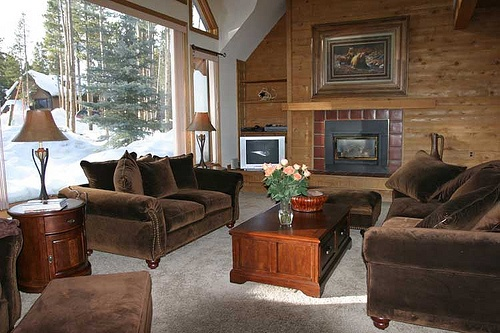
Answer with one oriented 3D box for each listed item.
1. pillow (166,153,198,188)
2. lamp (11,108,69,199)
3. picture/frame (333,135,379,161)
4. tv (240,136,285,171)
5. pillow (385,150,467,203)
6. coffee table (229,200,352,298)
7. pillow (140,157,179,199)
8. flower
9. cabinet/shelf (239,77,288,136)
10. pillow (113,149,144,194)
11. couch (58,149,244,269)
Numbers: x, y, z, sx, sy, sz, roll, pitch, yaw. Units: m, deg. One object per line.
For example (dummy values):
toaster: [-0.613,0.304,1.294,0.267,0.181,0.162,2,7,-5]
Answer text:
pillow: [-0.919,0.083,5.116,0.143,0.421,0.470,-12,2,33]
lamp: [-2.437,-0.156,4.178,0.498,0.995,1.624,-6,10,-32]
picture/frame: [2.105,-0.375,7.140,0.861,0.491,0.129,1,-3,0]
tv: [0.368,-0.283,7.585,1.027,0.689,0.565,1,5,26]
pillow: [2.300,0.073,4.692,0.841,0.250,0.892,16,45,38]
coffee table: [0.555,0.852,4.119,1.026,0.545,1.487,1,9,24]
pillow: [-1.193,0.161,4.656,0.265,0.434,0.563,0,3,30]
flower: [0.340,0.151,3.823,0.464,0.380,0.422,10,5,21]
cabinet/shelf: [0.300,-1.212,8.483,1.024,0.331,1.052,13,37,-3]
pillow: [-1.437,0.083,4.398,0.181,0.394,0.439,3,23,-4]
couch: [-1.132,0.431,4.867,1.242,1.134,2.208,5,9,25]
